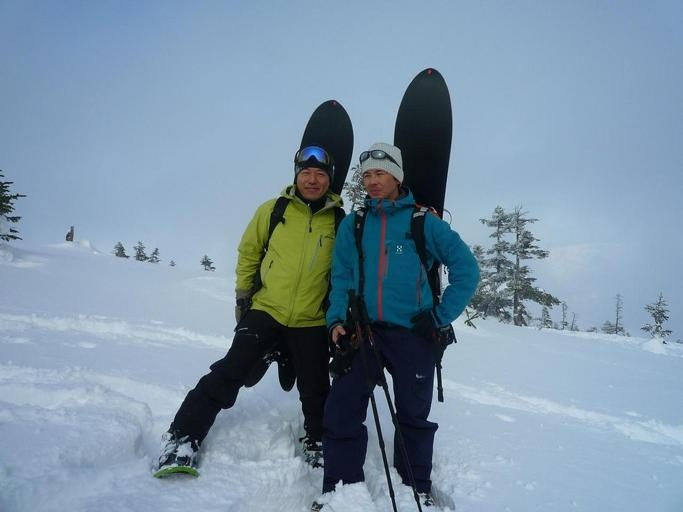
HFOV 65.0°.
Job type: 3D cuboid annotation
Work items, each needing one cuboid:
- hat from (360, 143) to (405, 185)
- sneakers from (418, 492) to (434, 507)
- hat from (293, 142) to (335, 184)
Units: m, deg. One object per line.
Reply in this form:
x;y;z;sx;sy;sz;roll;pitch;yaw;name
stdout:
0.522;-1.195;6.808;0.549;0.491;0.593;5;-7;33;hat
0.946;2.732;6.028;0.172;0.209;0.145;-3;-20;3;sneakers
-0.367;-1.320;7.174;0.479;0.263;0.665;4;2;10;hat
